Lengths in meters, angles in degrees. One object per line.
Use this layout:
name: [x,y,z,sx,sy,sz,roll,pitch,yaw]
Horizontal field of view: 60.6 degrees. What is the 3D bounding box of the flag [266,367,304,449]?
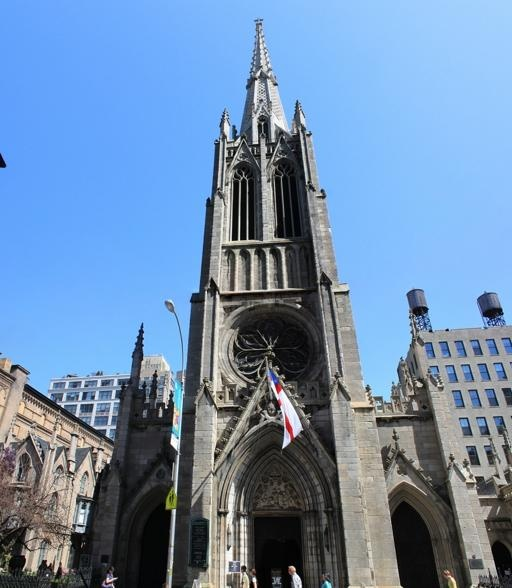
flag: [1.020,4.853,18.945,0.907,0.326,4.322,-21,-70,-11]
